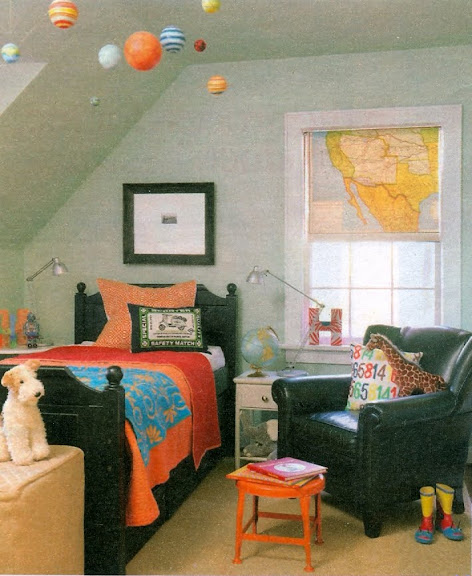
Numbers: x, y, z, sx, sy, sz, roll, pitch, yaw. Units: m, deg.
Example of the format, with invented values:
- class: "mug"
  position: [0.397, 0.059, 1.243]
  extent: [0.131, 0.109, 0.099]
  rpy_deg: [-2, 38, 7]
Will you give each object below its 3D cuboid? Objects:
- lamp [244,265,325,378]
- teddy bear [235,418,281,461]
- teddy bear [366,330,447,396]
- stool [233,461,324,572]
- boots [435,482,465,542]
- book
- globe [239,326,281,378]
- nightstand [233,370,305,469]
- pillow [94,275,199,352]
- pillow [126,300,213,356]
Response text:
- class: "lamp"
  position: [0.288, 0.203, 4.260]
  extent: [0.661, 0.612, 0.180]
  rpy_deg: [7, -10, -44]
- class: "teddy bear"
  position: [0.118, 0.835, 3.740]
  extent: [0.291, 0.224, 0.112]
  rpy_deg: [14, -23, 2]
- class: "teddy bear"
  position: [0.760, 0.344, 3.178]
  extent: [0.358, 0.239, 0.332]
  rpy_deg: [2, 3, -23]
- class: "stool"
  position: [0.165, 0.878, 2.736]
  extent: [0.478, 0.334, 0.455]
  rpy_deg: [3, 1, 15]
- class: "boots"
  position: [0.890, 0.937, 2.890]
  extent: [0.093, 0.201, 0.141]
  rpy_deg: [0, 4, -5]
- class: "book"
  position: [0.180, 0.707, 2.685]
  extent: [0.309, 0.038, 0.324]
  rpy_deg: [2, 3, 26]
- class: "globe"
  position: [0.154, 0.362, 3.847]
  extent: [0.317, 0.271, 0.260]
  rpy_deg: [4, -5, -30]
- class: "nightstand"
  position: [0.103, 0.730, 3.944]
  extent: [0.488, 0.487, 0.424]
  rpy_deg: [-1, -2, 19]
- class: "pillow"
  position: [-0.541, 0.140, 4.132]
  extent: [0.629, 0.360, 0.353]
  rpy_deg: [4, 2, 8]
- class: "pillow"
  position: [-0.377, 0.218, 3.767]
  extent: [0.539, 0.245, 0.252]
  rpy_deg: [2, 2, -20]
